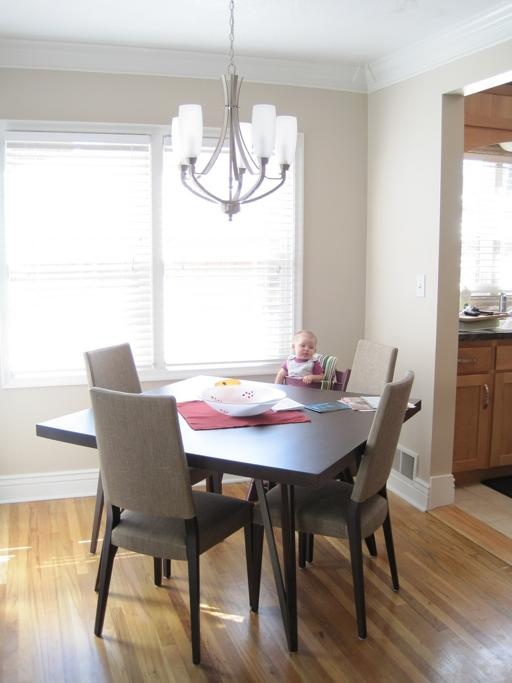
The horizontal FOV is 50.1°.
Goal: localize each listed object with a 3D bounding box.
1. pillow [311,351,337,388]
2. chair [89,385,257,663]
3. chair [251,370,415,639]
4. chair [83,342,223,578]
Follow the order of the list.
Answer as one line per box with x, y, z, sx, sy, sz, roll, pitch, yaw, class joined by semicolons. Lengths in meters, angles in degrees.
0.370;0.152;2.820;0.111;0.156;0.055;7;-6;18;pillow
-0.263;0.539;1.789;0.389;0.810;0.451;3;5;32;chair
0.272;0.548;1.944;0.475;0.814;0.436;2;5;26;chair
-0.336;0.654;2.398;0.522;1.015;0.613;5;10;27;chair
